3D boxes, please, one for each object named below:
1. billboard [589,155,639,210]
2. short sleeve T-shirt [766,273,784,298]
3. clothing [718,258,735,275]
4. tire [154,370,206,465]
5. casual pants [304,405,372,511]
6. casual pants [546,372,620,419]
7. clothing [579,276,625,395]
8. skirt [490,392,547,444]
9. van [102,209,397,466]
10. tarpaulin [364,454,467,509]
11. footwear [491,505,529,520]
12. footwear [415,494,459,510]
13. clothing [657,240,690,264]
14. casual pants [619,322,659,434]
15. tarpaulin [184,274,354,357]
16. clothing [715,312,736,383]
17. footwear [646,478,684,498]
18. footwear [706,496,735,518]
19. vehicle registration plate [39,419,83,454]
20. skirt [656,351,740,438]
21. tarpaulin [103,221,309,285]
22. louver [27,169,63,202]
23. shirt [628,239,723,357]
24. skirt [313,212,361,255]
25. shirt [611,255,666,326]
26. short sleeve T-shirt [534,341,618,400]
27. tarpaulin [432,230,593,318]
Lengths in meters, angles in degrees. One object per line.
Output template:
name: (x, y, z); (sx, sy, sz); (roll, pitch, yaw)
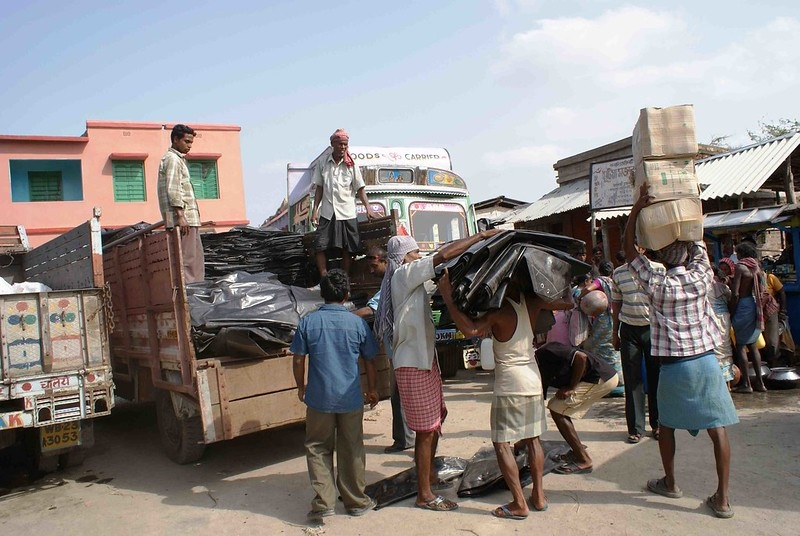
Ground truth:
billboard: (4.184, -1.656, 11.969); (1.207, 0.957, 0.117); (-10, 13, -20)
short sleeve T-shirt: (6.456, 0.316, 10.523); (0.199, 0.317, 0.354); (-27, 7, -39)
clothing: (5.700, -0.021, 10.650); (0.226, 0.234, 0.256); (-36, -16, 35)
tire: (-2.924, 2.042, 8.201); (0.374, 1.041, 1.084); (-8, 22, -37)
casual pants: (-0.668, 2.044, 6.536); (0.632, 1.095, 0.377); (-6, 8, -9)
casual pants: (2.121, 1.544, 7.014); (0.832, 0.302, 0.509); (-14, -3, 0)
clothing: (3.091, 1.006, 9.498); (0.627, 2.180, 0.780); (-4, 5, -41)
skirt: (1.174, 1.618, 6.507); (0.366, 0.464, 0.633); (-3, -15, 14)
van: (-2.677, 0.792, 9.137); (2.730, 2.436, 4.538); (-2, 2, -35)
tarpaulin: (0.193, 2.424, 7.022); (0.418, 0.199, 1.175); (8, 15, 43)
footwear: (1.138, 2.490, 6.285); (0.276, 0.078, 0.138); (3, -2, 16)
footwear: (0.401, 2.494, 6.471); (0.336, 0.088, 0.171); (-2, 3, 6)
clothing: (2.868, -0.147, 6.366); (0.233, 0.245, 0.281); (2, -15, 3)
casual pants: (3.095, 1.392, 7.843); (0.463, 1.545, 0.359); (-7, -1, -10)
tarpaulin: (-1.871, 0.571, 7.613); (1.254, 0.418, 1.137); (-3, 31, -30)
clothing: (5.179, 1.340, 9.656); (0.214, 0.681, 0.239); (6, 1, 33)
footwear: (2.804, 2.302, 6.462); (0.153, 0.122, 0.300); (2, 2, -33)
footwear: (3.220, 2.399, 6.150); (0.116, 0.117, 0.284); (-5, 8, -7)
vehicle registration plate: (-4.251, 2.085, 7.605); (0.531, 0.423, 0.075); (-2, 4, -28)
skirt: (2.954, 1.278, 6.365); (0.902, 0.816, 0.461); (-6, 0, 3)
tarpaulin: (-2.443, -0.227, 9.432); (1.909, 0.637, 1.500); (1, -6, -37)
louver: (-12.767, -2.959, 21.841); (1.299, 1.210, 0.096); (-2, 0, -36)
shirt: (2.879, 0.226, 6.505); (1.031, 1.293, 0.745); (-2, 6, 13)
skirt: (-0.963, -0.469, 9.397); (0.840, 0.864, 0.509); (2, -16, -8)
shirt: (3.058, 0.331, 7.822); (0.401, 0.755, 0.742); (-11, 7, -43)
short sleeve T-shirt: (1.939, 1.185, 7.286); (1.301, 0.494, 1.002); (7, -19, 12)
tarpaulin: (1.231, -0.014, 6.391); (0.983, 0.582, 1.276); (-17, -2, 36)
